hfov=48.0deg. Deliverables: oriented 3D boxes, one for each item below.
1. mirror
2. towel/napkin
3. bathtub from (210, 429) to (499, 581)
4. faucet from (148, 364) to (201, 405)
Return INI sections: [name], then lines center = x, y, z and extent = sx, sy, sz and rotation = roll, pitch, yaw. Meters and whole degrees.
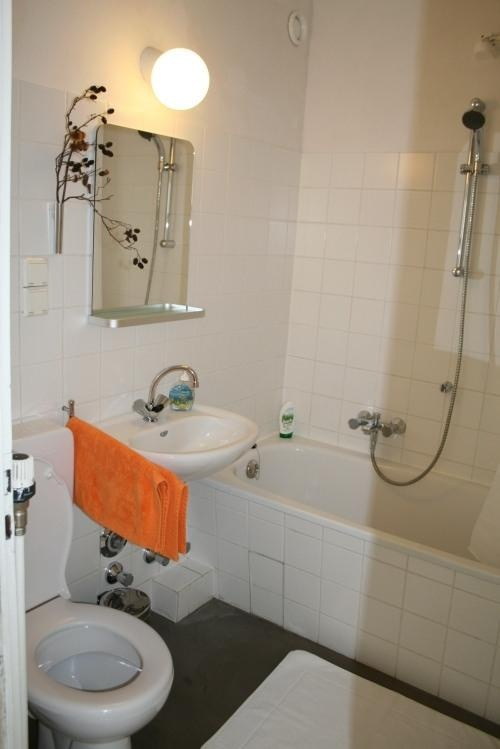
[mirror]
center = -0.323, -0.496, 1.845
extent = 0.112, 0.582, 0.421
rotation = 21, 20, 34
[towel/napkin]
center = -0.376, 0.332, 1.677
extent = 0.104, 0.272, 0.444
rotation = -19, 31, -41
[bathtub]
center = 0.457, 0.591, 2.356
extent = 1.217, 0.353, 0.828
rotation = 8, 11, 34
[faucet]
center = -0.290, 0.014, 2.073
extent = 0.168, 0.133, 0.364
rotation = 0, 9, -10
